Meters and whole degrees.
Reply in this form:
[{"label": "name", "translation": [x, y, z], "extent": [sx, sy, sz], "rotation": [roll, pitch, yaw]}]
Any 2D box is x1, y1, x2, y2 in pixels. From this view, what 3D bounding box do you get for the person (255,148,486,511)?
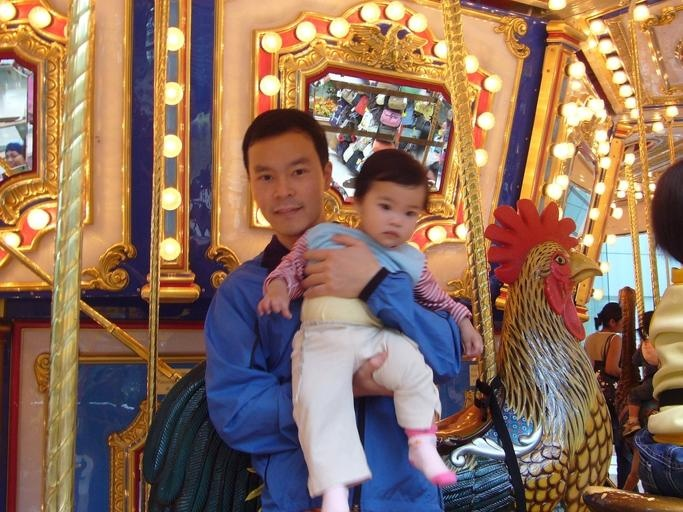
[{"label": "person", "translation": [0.090, 0.192, 2.112], "extent": [0.671, 1.132, 0.358], "rotation": [-4, -12, 6]}]
